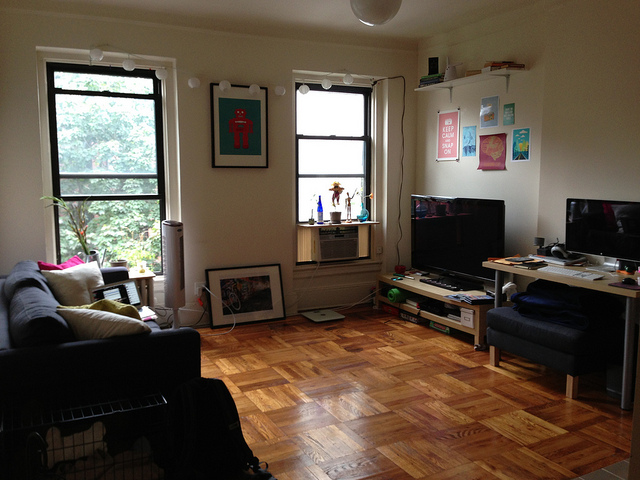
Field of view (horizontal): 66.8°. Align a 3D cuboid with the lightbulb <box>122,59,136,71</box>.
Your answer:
[{"bbox_3d":[-1.783,-1.640,4.525,0.091,0.119,0.225,-4,11,-15],"label":"lightbulb"}]

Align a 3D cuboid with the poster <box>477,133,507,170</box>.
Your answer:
[{"bbox_3d":[1.748,-0.903,4.928,0.019,0.390,0.387,-3,7,-30],"label":"poster"}]

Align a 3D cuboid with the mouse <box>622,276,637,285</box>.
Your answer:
[{"bbox_3d":[2.214,0.297,3.482,0.083,0.024,0.054,-10,17,-36],"label":"mouse"}]

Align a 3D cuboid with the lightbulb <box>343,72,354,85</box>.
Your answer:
[{"bbox_3d":[0.295,-1.698,5.147,0.124,0.148,0.059,1,-5,26],"label":"lightbulb"}]

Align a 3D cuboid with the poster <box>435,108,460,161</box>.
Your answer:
[{"bbox_3d":[1.434,-1.180,5.460,0.054,0.557,0.378,-5,11,-24],"label":"poster"}]

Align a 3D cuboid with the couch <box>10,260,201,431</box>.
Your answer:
[{"bbox_3d":[-1.771,0.701,3.573,1.078,0.855,2.313,-3,7,-35],"label":"couch"}]

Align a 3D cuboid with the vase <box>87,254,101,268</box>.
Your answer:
[{"bbox_3d":[-2.137,0.202,4.621,0.073,0.125,0.068,-1,1,-3],"label":"vase"}]

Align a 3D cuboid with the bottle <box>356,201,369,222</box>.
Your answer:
[{"bbox_3d":[0.498,-0.339,5.878,0.185,0.274,0.163,0,-3,-1],"label":"bottle"}]

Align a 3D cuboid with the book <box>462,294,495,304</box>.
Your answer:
[{"bbox_3d":[1.489,0.562,4.598,0.283,0.042,0.227,1,11,7],"label":"book"}]

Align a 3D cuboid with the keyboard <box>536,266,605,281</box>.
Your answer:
[{"bbox_3d":[1.943,0.261,3.807,0.221,0.020,0.467,-8,13,-35],"label":"keyboard"}]

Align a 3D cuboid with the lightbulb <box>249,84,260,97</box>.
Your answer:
[{"bbox_3d":[-0.692,-1.577,5.098,0.107,0.129,0.137,-2,11,-8],"label":"lightbulb"}]

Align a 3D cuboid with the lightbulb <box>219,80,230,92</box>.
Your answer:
[{"bbox_3d":[-0.968,-1.561,4.898,0.122,0.121,0.047,-14,28,-32],"label":"lightbulb"}]

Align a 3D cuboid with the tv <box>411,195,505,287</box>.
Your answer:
[{"bbox_3d":[1.432,-0.006,5.084,0.335,0.893,1.264,-2,8,-33],"label":"tv"}]

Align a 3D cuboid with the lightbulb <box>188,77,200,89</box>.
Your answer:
[{"bbox_3d":[-1.267,-1.583,4.866,0.112,0.107,0.156,-3,11,-14],"label":"lightbulb"}]

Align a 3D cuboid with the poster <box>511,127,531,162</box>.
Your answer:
[{"bbox_3d":[1.920,-0.910,4.648,0.048,0.322,0.231,-5,11,-23],"label":"poster"}]

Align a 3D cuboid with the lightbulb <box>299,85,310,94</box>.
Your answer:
[{"bbox_3d":[-0.180,-1.611,5.167,0.089,0.104,0.189,-1,11,-2],"label":"lightbulb"}]

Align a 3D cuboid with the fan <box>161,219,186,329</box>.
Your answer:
[{"bbox_3d":[-1.401,0.449,4.713,0.273,1.223,0.272,-4,15,-21],"label":"fan"}]

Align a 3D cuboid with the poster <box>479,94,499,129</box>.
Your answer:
[{"bbox_3d":[1.723,-1.312,4.940,0.020,0.432,0.329,-10,15,-30],"label":"poster"}]
